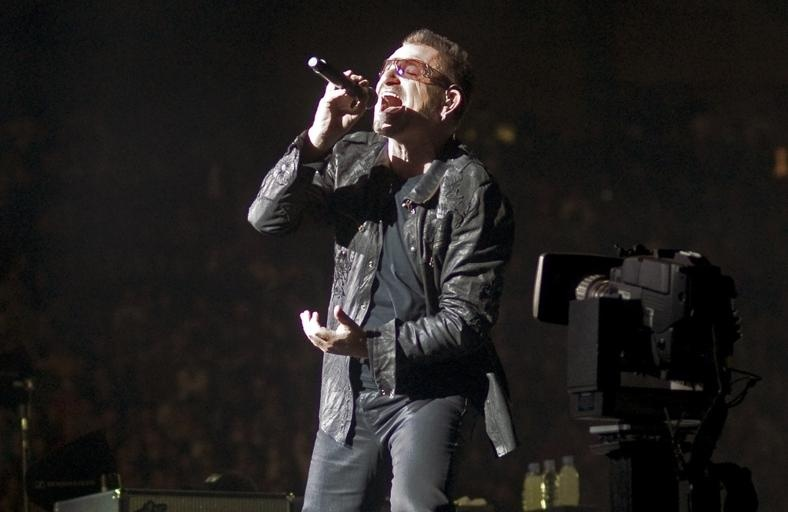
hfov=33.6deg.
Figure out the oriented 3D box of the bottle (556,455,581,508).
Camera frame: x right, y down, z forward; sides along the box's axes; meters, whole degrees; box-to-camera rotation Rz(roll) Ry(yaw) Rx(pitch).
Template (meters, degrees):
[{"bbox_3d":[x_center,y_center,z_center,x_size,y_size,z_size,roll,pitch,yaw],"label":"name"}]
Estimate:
[{"bbox_3d":[0.975,1.252,7.414,0.119,0.282,0.169,-7,-19,23],"label":"bottle"}]
